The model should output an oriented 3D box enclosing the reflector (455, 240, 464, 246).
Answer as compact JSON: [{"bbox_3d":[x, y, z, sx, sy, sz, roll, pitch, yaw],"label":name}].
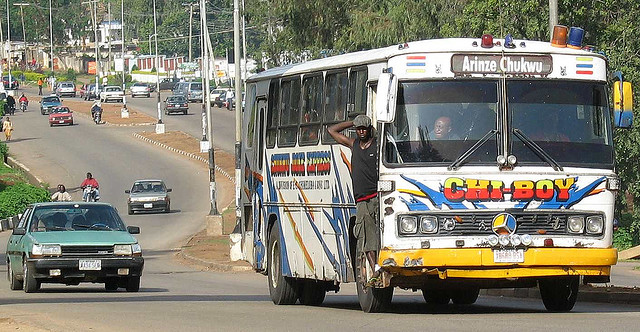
[{"bbox_3d":[3.580,1.955,27.721,0.213,0.120,0.068,-2,-12,1],"label":"reflector"}]

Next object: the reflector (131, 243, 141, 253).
[{"bbox_3d":[-5.703,2.512,33.602,0.165,0.320,0.282,-6,6,15],"label":"reflector"}]

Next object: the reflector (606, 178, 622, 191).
[{"bbox_3d":[7.729,0.430,28.262,0.254,0.359,0.643,-3,6,35],"label":"reflector"}]

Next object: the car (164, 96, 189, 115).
[{"bbox_3d":[-13.098,-5.577,98.668,2.067,1.303,3.955,-2,6,-10],"label":"car"}]

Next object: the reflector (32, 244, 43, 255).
[{"bbox_3d":[-8.630,2.529,33.086,0.337,0.258,0.079,4,-6,1],"label":"reflector"}]

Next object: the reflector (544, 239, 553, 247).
[{"bbox_3d":[5.891,1.943,27.870,0.233,0.190,0.050,0,-4,1],"label":"reflector"}]

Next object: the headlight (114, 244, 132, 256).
[{"bbox_3d":[-6.087,2.564,33.419,0.426,0.231,0.392,0,-3,12],"label":"headlight"}]

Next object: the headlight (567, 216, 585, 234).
[{"bbox_3d":[6.621,1.495,27.945,0.498,0.408,0.148,-1,8,-9],"label":"headlight"}]

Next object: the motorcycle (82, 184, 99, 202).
[{"bbox_3d":[-11.946,1.356,56.388,0.952,0.925,1.771,-1,-5,-7],"label":"motorcycle"}]

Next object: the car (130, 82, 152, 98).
[{"bbox_3d":[-20.203,-8.799,122.525,1.752,0.943,2.849,0,-3,-9],"label":"car"}]

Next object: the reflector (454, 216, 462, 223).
[{"bbox_3d":[3.563,1.336,27.769,0.086,0.254,0.092,-44,-5,-12],"label":"reflector"}]

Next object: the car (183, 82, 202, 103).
[{"bbox_3d":[-12.968,-7.729,110.955,1.671,1.268,2.483,0,6,-12],"label":"car"}]

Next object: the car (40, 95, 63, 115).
[{"bbox_3d":[-25.340,-5.914,101.876,2.148,1.370,3.390,-3,-2,-17],"label":"car"}]

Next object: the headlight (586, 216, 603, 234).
[{"bbox_3d":[7.122,1.499,28.019,0.498,0.409,0.151,-3,5,-12],"label":"headlight"}]

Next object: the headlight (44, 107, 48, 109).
[{"bbox_3d":[-25.306,-5.441,100.082,0.456,0.134,0.105,-2,8,35],"label":"headlight"}]

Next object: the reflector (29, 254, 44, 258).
[{"bbox_3d":[-8.669,2.738,33.144,0.440,0.105,0.091,-4,6,15],"label":"reflector"}]

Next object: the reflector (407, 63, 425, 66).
[{"bbox_3d":[2.495,-2.651,27.962,0.438,0.103,0.051,-6,6,-6],"label":"reflector"}]

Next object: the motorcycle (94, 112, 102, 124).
[{"bbox_3d":[-19.131,-4.220,93.220,0.445,0.980,1.317,-10,6,-17],"label":"motorcycle"}]

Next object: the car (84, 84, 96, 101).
[{"bbox_3d":[-25.403,-8.383,120.603,1.357,1.146,2.235,0,-4,-18],"label":"car"}]

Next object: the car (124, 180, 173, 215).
[{"bbox_3d":[-9.347,1.382,59.847,2.443,1.405,3.796,-3,13,-7],"label":"car"}]

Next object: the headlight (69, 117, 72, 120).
[{"bbox_3d":[-21.133,-4.118,91.741,0.094,0.171,0.238,-5,6,28],"label":"headlight"}]

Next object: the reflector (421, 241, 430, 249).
[{"bbox_3d":[2.721,1.999,27.732,0.215,0.175,0.048,4,-3,5],"label":"reflector"}]

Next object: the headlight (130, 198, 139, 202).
[{"bbox_3d":[-9.945,1.781,58.052,0.475,0.235,0.104,-5,6,6],"label":"headlight"}]
